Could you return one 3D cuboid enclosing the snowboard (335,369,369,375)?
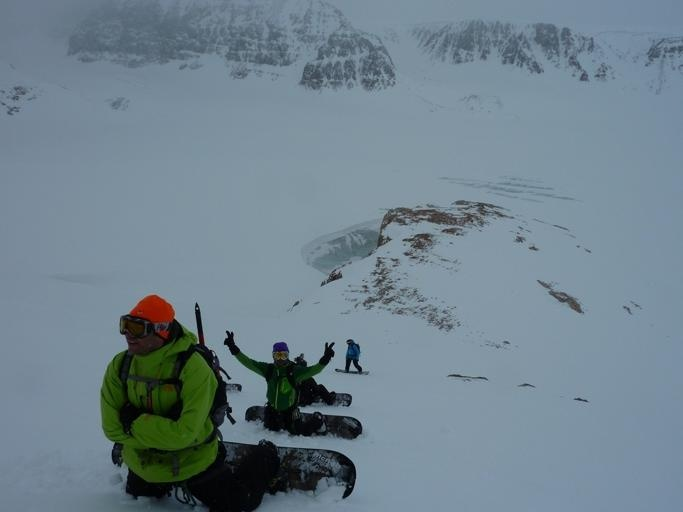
[{"bbox_3d":[0.907,11.587,80.602,2.867,0.233,0.481,-2,23,10],"label":"snowboard"}]
